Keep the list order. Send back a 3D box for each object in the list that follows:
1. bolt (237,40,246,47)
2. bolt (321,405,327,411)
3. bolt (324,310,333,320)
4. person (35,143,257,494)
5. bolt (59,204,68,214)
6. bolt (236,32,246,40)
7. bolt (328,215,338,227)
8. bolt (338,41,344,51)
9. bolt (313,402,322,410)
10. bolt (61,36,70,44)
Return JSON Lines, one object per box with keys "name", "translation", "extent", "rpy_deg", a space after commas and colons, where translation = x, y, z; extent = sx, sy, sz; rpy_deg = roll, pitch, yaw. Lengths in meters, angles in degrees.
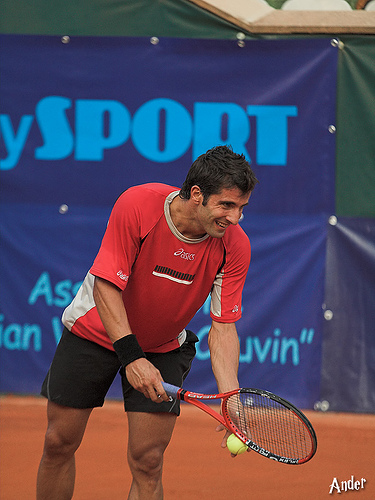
{"name": "bolt", "translation": [0.359, -1.377, 3.798], "extent": [0.033, 0.042, 0.010], "rpy_deg": [9, 8, 1]}
{"name": "bolt", "translation": [0.928, 1.077, 3.874], "extent": [0.037, 0.039, 0.003], "rpy_deg": [1, 8, 4]}
{"name": "bolt", "translation": [0.954, 0.439, 3.847], "extent": [0.057, 0.058, 0.042], "rpy_deg": [0, 11, 10]}
{"name": "person", "translation": [-0.200, 0.404, 2.608], "extent": [0.958, 1.687, 1.370], "rpy_deg": [2, 8, 6]}
{"name": "bolt", "translation": [-0.867, -0.285, 3.965], "extent": [0.052, 0.057, 0.014], "rpy_deg": [2, 9, 2]}
{"name": "bolt", "translation": [0.356, -1.428, 3.798], "extent": [0.053, 0.048, 0.007], "rpy_deg": [2, 9, 6]}
{"name": "bolt", "translation": [0.977, -0.194, 3.829], "extent": [0.080, 0.074, 0.019], "rpy_deg": [0, 0, 6]}
{"name": "bolt", "translation": [1.009, -1.350, 3.755], "extent": [0.040, 0.044, 0.019], "rpy_deg": [-4, 3, 3]}
{"name": "bolt", "translation": [0.885, 1.062, 3.876], "extent": [0.059, 0.055, 0.013], "rpy_deg": [-7, -1, 6]}
{"name": "bolt", "translation": [-0.828, -1.429, 3.860], "extent": [0.052, 0.049, 0.012], "rpy_deg": [1, 5, 2]}
